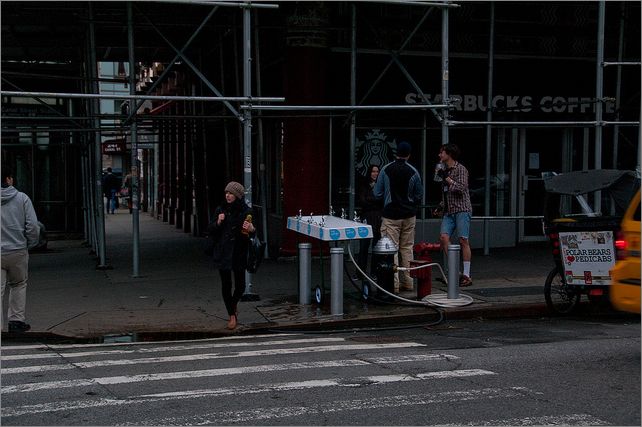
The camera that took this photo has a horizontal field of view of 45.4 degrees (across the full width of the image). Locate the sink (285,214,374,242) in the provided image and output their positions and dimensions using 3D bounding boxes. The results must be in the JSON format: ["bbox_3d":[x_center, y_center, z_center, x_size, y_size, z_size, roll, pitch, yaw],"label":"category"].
[{"bbox_3d":[0.157,0.303,14.405,0.908,0.337,1.660,-6,11,-29],"label":"sink"}]

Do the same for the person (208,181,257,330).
[{"bbox_3d":[-1.555,0.747,13.356,0.782,2.517,0.591,-2,10,-9],"label":"person"}]

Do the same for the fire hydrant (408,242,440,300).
[{"bbox_3d":[2.023,1.123,14.910,0.582,1.010,0.668,1,10,8],"label":"fire hydrant"}]

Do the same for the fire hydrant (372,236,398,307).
[{"bbox_3d":[1.222,1.002,14.804,0.438,1.054,0.648,-2,10,-6],"label":"fire hydrant"}]

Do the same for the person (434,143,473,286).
[{"bbox_3d":[2.730,0.050,15.741,0.773,2.930,1.003,1,10,11],"label":"person"}]

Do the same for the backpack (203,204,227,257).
[{"bbox_3d":[-1.955,0.295,13.490,0.561,0.789,0.256,-2,18,-39],"label":"backpack"}]
